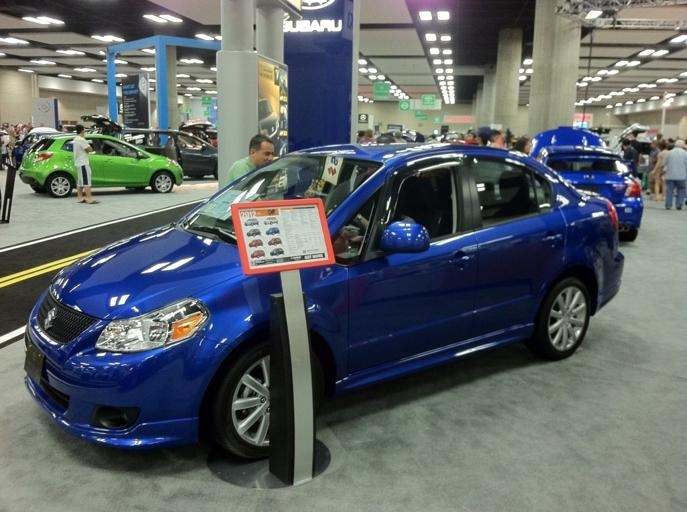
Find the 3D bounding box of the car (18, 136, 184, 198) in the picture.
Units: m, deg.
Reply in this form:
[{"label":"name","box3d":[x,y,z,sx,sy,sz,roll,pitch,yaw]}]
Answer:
[{"label":"car","box3d":[-8.885,-3.309,15.942,4.689,1.700,2.704,-9,16,-36]}]

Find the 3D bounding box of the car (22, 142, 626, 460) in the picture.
[{"label":"car","box3d":[0.151,0.244,3.677,4.286,1.528,2.291,-7,15,-28]}]
